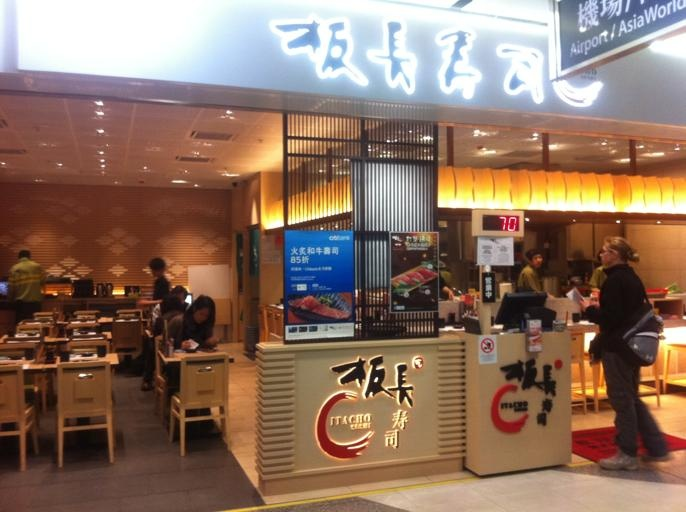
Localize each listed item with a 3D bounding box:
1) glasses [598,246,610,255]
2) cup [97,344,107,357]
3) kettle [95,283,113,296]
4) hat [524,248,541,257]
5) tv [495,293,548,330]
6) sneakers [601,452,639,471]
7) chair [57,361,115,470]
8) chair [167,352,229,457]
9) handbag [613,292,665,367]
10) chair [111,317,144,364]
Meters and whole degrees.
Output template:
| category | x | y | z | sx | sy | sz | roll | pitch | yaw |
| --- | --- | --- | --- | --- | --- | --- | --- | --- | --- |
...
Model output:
| category | x | y | z | sx | sy | sz | roll | pitch | yaw |
| --- | --- | --- | --- | --- | --- | --- | --- | --- | --- |
| glasses | 3.022 | -0.069 | 6.435 | 0.153 | 0.051 | 0.146 | 15 | -2 | 2 |
| cup | -2.799 | 1.098 | 6.397 | 0.123 | 0.145 | 0.125 | -4 | -3 | 0 |
| kettle | -5.487 | 0.771 | 12.668 | 0.316 | 0.325 | 0.301 | 2 | -5 | 12 |
| hat | 2.790 | -0.050 | 8.270 | 0.230 | 0.102 | 0.263 | -2 | -4 | -8 |
| tv | 1.784 | 0.542 | 5.536 | 0.532 | 0.351 | 0.139 | -2 | 1 | -18 |
| sneakers | 2.627 | 1.963 | 5.310 | 0.324 | 0.160 | 0.163 | 2 | -8 | 10 |
| chair | -2.799 | 1.591 | 6.018 | 0.554 | 1.069 | 1.057 | -2 | 1 | -23 |
| chair | -1.638 | 1.599 | 6.288 | 0.677 | 1.070 | 0.891 | -1 | 1 | -16 |
| handbag | 2.891 | 0.726 | 5.386 | 0.495 | 0.661 | 0.323 | 19 | -2 | -37 |
| chair | -4.026 | 1.530 | 10.119 | 0.682 | 0.946 | 0.677 | 0 | 2 | -2 |
